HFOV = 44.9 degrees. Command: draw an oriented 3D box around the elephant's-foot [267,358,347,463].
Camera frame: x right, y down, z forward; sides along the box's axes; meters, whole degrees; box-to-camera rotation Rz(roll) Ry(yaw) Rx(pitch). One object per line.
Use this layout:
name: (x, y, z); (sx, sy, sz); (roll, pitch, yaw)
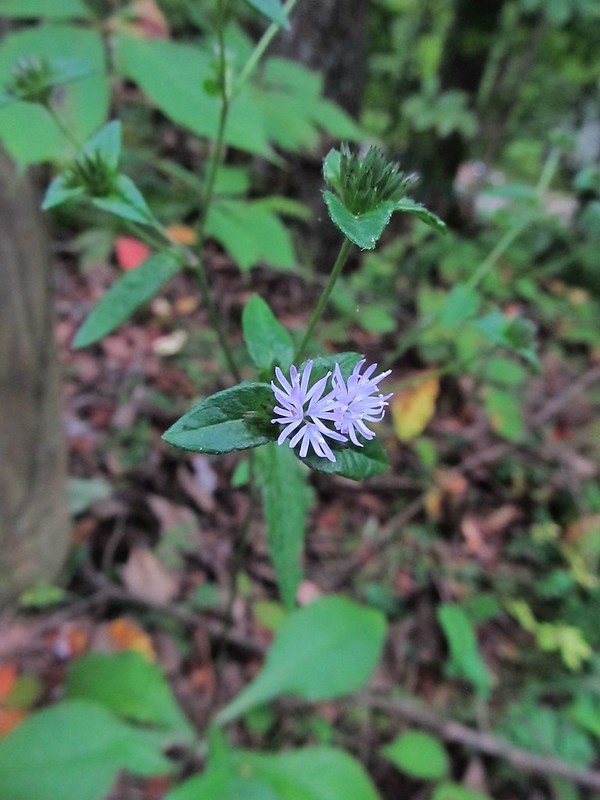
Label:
elephant's-foot: (0.000, 0.007, 1.249); (0.127, 0.039, 0.124); (3, 38, 25)
